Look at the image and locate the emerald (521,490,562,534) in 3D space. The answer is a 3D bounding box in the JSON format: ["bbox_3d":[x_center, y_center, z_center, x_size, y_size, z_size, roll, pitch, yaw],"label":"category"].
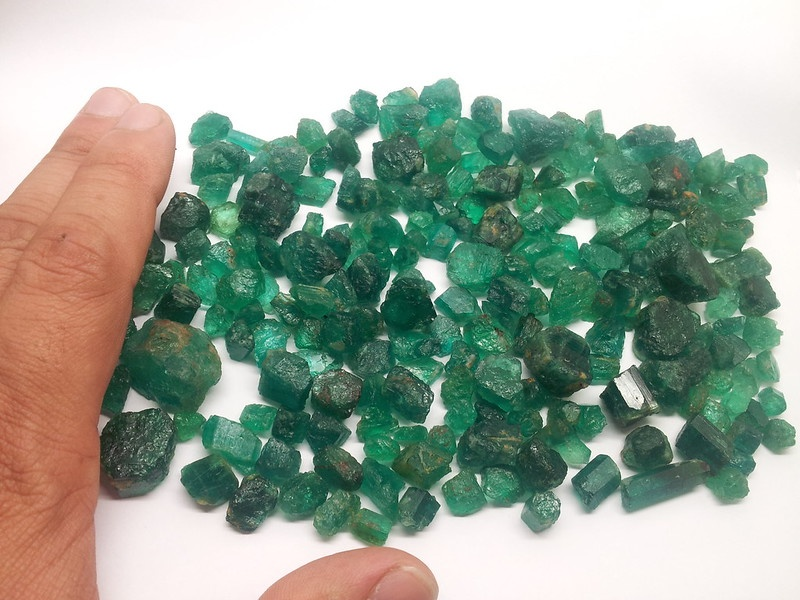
[{"bbox_3d":[0.651,0.967,3.791,0.160,0.176,0.161,19,-60,-6],"label":"emerald"}]

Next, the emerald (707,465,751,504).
[{"bbox_3d":[1.558,0.888,3.875,0.179,0.147,0.122,-2,-28,3],"label":"emerald"}]

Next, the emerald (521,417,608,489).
[{"bbox_3d":[0.744,0.699,3.771,0.341,0.269,0.172,-26,-21,-15],"label":"emerald"}]

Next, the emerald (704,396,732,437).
[{"bbox_3d":[1.558,0.582,4.059,0.147,0.161,0.045,-5,-18,-40],"label":"emerald"}]

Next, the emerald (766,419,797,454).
[{"bbox_3d":[1.873,0.675,4.006,0.167,0.140,0.119,-4,-28,8],"label":"emerald"}]
